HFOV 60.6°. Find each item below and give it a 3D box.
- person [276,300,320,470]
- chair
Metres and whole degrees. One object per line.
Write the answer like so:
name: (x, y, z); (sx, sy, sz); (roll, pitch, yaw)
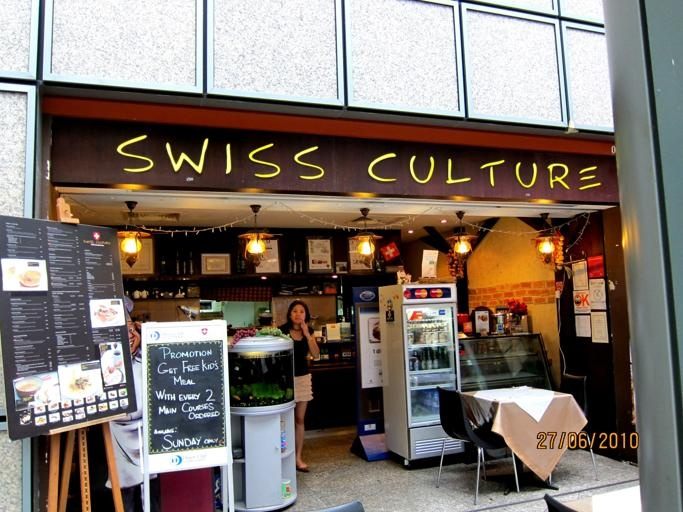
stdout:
person: (-0.463, 1.419, 6.332); (0.385, 1.851, 0.909); (-2, -3, 12)
chair: (1.648, 1.821, 6.043); (1.347, 0.982, 1.071); (0, -3, -19)
